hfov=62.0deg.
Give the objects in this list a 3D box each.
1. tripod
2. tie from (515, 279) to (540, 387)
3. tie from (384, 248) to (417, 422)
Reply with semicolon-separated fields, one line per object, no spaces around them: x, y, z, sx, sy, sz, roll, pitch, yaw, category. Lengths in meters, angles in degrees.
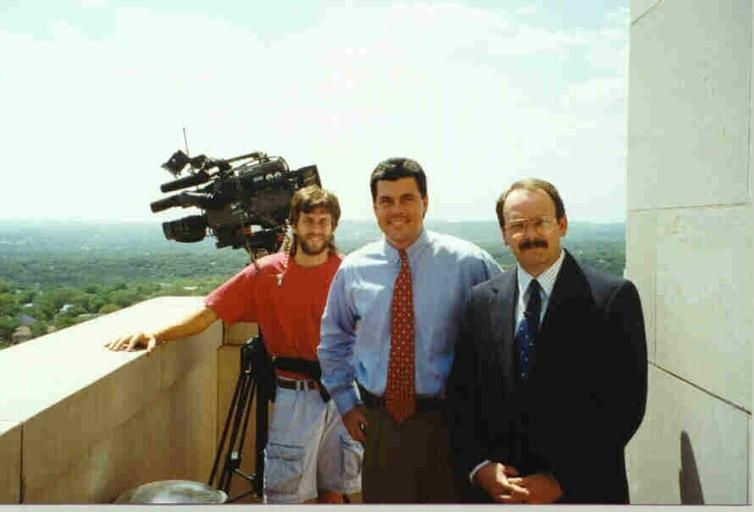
-0.511;0.908;4.082;0.945;1.231;0.890;-2;0;-2;tripod
0.765;0.373;3.149;0.136;0.502;0.064;-6;7;-31;tie
0.119;0.417;3.291;0.161;0.890;0.091;-2;6;0;tie
